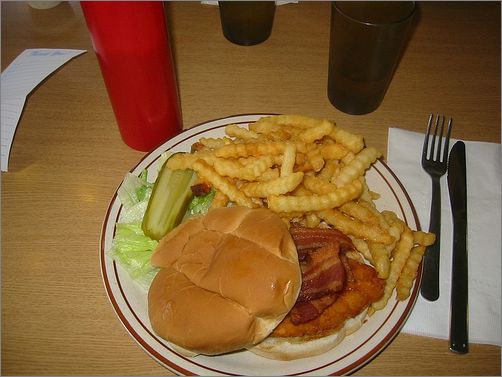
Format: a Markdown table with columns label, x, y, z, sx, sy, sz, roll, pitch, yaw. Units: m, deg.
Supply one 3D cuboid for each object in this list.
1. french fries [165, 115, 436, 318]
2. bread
| label | x | y | z | sx | sy | sz | roll | pitch | yaw |
| --- | --- | --- | --- | --- | --- | --- | --- | --- | --- |
| french fries | 0.277 | 0.033 | 1.824 | 0.951 | 0.182 | 0.714 | 15 | 75 | 20 |
| bread | -0.101 | 0.304 | 1.475 | 0.544 | 0.162 | 0.509 | -5 | 67 | -2 |
